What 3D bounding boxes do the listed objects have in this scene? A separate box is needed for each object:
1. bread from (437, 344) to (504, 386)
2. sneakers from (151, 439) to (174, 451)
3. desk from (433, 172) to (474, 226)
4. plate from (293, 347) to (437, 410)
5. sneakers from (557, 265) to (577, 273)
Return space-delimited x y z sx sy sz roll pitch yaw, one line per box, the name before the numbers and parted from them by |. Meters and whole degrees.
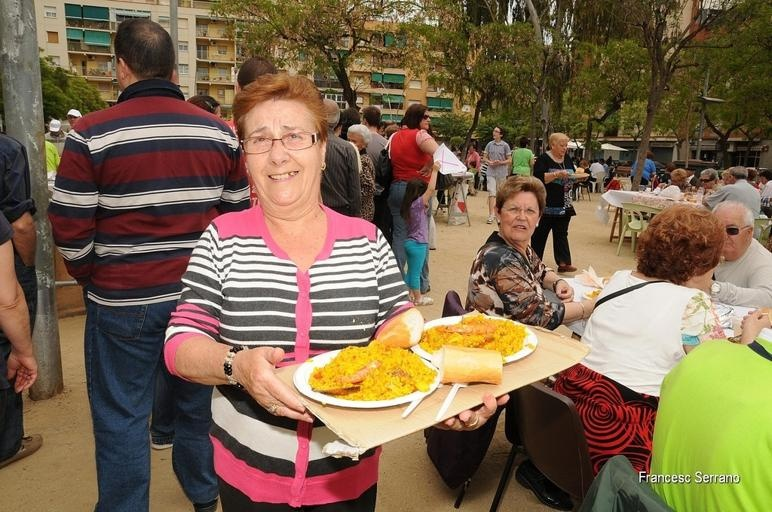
bread | 0.396 0.509 2.632 0.305 0.222 0.193 0 43 0
sneakers | -1.925 1.610 4.912 0.201 0.101 0.109 1 11 -8
desk | 2.110 -1.531 15.657 0.564 1.263 1.537 -10 3 13
plate | -0.080 0.551 2.624 0.669 0.176 0.359 4 15 4
sneakers | 3.226 0.220 10.068 0.303 0.159 0.142 -1 5 -3
